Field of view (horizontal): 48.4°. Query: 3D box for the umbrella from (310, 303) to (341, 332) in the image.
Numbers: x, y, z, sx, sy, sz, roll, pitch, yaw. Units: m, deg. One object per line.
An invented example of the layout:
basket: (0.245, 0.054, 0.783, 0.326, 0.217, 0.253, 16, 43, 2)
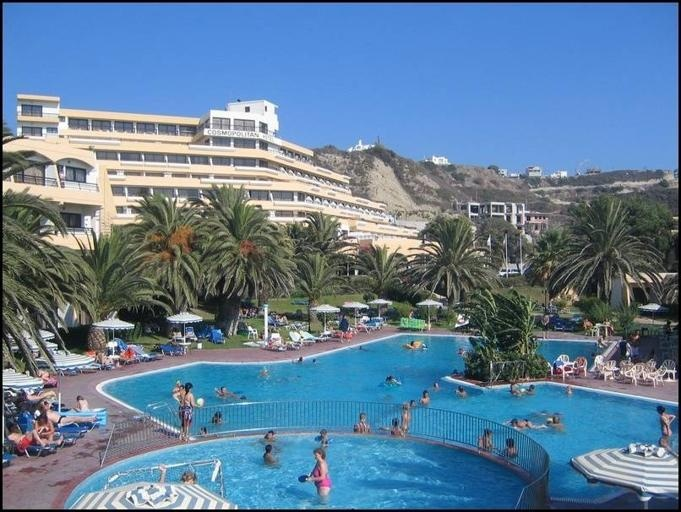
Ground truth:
umbrella: (-0.952, 4.130, 50.822, 1.646, 1.965, 1.849, 1, 2, -11)

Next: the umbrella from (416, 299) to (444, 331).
umbrella: (6.387, 4.103, 54.631, 1.811, 2.212, 1.948, 2, 5, 11)

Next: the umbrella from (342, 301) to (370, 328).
umbrella: (1.103, 4.247, 55.841, 1.627, 1.758, 1.705, 2, 0, 31)

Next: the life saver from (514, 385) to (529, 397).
life saver: (8.268, 6.116, 34.453, 0.629, 0.478, 0.468, 3, 2, 20)

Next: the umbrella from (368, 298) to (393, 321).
umbrella: (2.940, 3.787, 57.589, 1.486, 1.421, 1.519, -3, 5, -22)

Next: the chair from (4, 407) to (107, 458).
chair: (-10.474, 6.319, 27.035, 1.227, 0.691, 2.690, 1, 2, 5)

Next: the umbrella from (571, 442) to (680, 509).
umbrella: (9.159, 6.639, 23.971, 2.794, 0.923, 1.450, 7, 14, 21)
